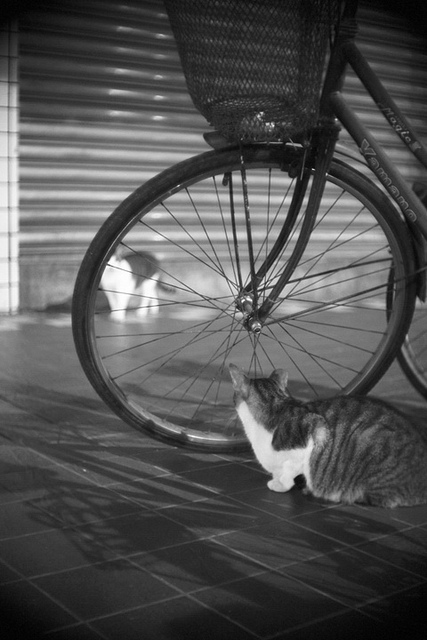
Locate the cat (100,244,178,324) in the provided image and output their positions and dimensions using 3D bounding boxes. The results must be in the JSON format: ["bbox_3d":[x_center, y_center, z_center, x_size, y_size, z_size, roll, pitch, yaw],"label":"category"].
[{"bbox_3d":[-0.567,-0.359,4.798,0.946,0.535,0.201,12,-1,42],"label":"cat"}]

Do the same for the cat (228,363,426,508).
[{"bbox_3d":[0.361,0.351,1.687,0.592,0.478,0.197,-4,-29,1],"label":"cat"}]

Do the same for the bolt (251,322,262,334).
[{"bbox_3d":[0.138,0.023,1.701,0.030,0.030,0.030,7,-64,2],"label":"bolt"}]
